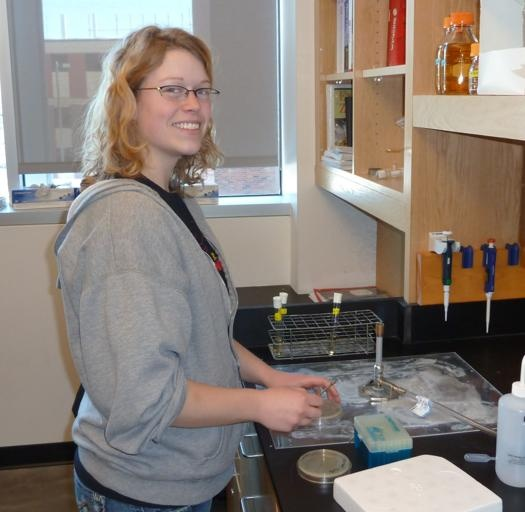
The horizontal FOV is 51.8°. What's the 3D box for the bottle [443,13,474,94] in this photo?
[{"bbox_3d":[0.509,-0.512,1.406,0.090,0.183,0.047,2,14,23],"label":"bottle"}]
